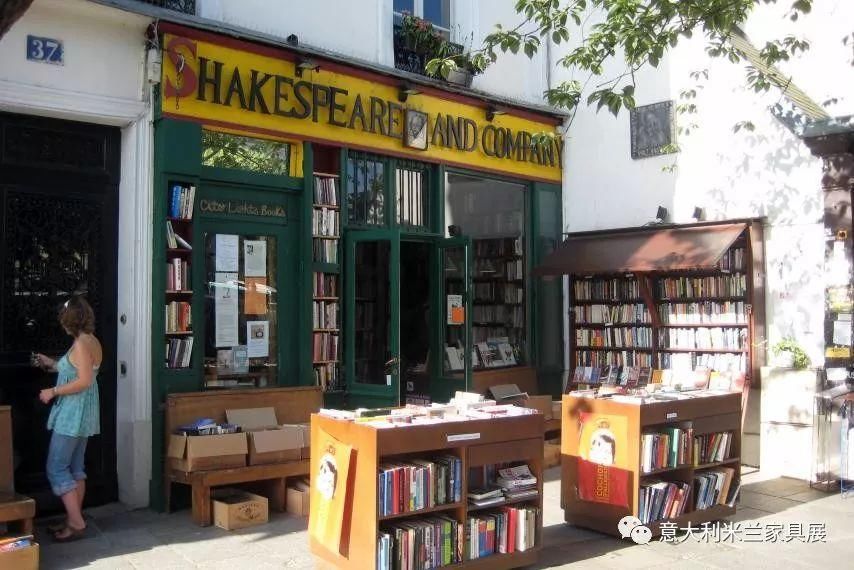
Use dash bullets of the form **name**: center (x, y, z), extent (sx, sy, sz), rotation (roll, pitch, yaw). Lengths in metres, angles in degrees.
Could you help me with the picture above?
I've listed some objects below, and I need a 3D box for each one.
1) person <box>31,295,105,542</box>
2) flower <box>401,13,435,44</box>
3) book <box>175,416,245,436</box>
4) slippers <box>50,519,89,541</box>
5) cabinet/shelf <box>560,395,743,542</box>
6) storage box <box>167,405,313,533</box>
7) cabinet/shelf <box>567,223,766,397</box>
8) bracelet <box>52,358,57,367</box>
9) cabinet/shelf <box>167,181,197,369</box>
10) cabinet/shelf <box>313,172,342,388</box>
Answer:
- **person**: center (-3.601, 1.341, 7.170), extent (0.467, 2.349, 0.608), rotation (1, 8, -4)
- **flower**: center (-0.129, -3.545, 9.840), extent (0.398, 0.397, 0.141), rotation (31, -49, -1)
- **book**: center (-2.407, 1.579, 7.851), extent (0.702, 0.119, 0.395), rotation (-1, 9, -18)
- **slippers**: center (-3.587, 2.467, 7.112), extent (0.251, 0.095, 0.182), rotation (7, -2, -19)
- **cabinet/shelf**: center (2.517, 1.925, 7.859), extent (1.978, 1.372, 1.036), rotation (5, -5, -37)
- **storage box**: center (-2.188, 1.740, 7.964), extent (1.572, 1.028, 1.065), rotation (1, -3, -41)
- **cabinet/shelf**: center (3.490, 0.355, 9.970), extent (2.320, 2.270, 0.756), rotation (-4, -8, 38)
- **bracelet**: center (-3.909, 0.834, 7.432), extent (0.052, 0.074, 0.021), rotation (0, -5, 38)
- **cabinet/shelf**: center (-2.825, -0.109, 8.076), extent (0.402, 2.087, 0.210), rotation (2, -7, -27)
- **cabinet/shelf**: center (-1.282, -0.178, 9.095), extent (0.446, 2.582, 0.344), rotation (0, 11, -6)
